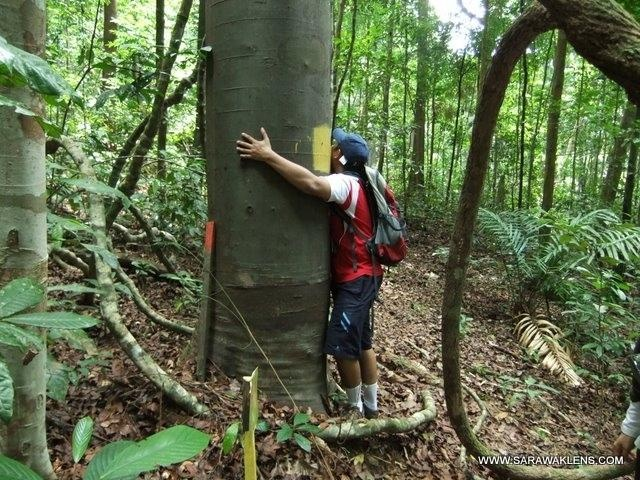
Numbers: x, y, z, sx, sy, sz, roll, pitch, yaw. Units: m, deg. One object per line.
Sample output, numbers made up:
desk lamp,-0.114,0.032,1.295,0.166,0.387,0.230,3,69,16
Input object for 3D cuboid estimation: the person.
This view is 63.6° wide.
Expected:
person,0.203,0.306,4.574,0.789,2.502,1.461,6,7,29
